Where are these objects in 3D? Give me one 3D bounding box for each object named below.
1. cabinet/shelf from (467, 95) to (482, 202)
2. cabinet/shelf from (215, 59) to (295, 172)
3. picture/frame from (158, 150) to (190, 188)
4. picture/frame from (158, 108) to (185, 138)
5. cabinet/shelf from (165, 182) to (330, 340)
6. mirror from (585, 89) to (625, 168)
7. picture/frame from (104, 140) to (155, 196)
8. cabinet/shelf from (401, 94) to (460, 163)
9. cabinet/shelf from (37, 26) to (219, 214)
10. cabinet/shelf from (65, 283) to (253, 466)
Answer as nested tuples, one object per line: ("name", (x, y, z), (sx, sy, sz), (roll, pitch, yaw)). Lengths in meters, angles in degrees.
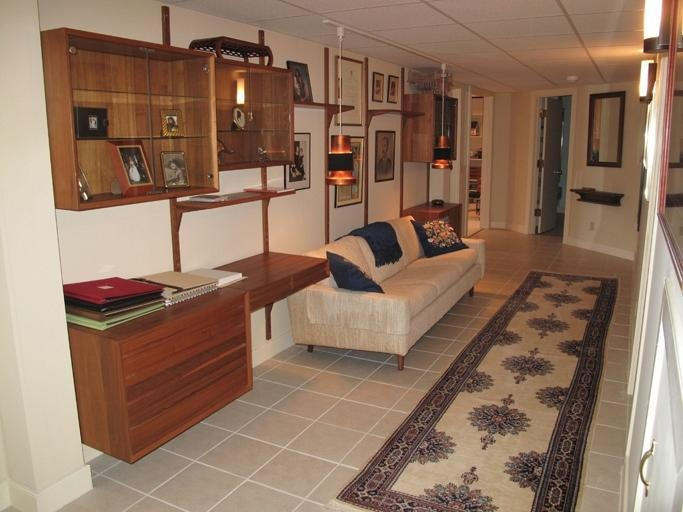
("cabinet/shelf", (3.178, -3.018, 12.178), (0.334, 1.449, 0.126), (1, 10, 14))
("cabinet/shelf", (-0.862, -1.097, 4.128), (0.353, 0.785, 1.056), (12, 18, 34))
("picture/frame", (-1.144, -0.587, 3.465), (0.029, 0.250, 0.269), (-4, 9, 25))
("picture/frame", (-1.147, -0.883, 3.425), (0.025, 0.199, 0.224), (4, 14, 31))
("cabinet/shelf", (-0.710, 0.142, 4.314), (0.751, 1.264, 1.177), (11, 18, 30))
("mirror", (4.420, -2.089, 8.569), (0.079, 1.229, 0.759), (-12, 18, -18))
("picture/frame", (-1.334, -0.545, 3.190), (0.059, 0.338, 0.300), (-10, 15, 35))
("cabinet/shelf", (1.182, -1.756, 7.084), (0.452, 0.958, 1.260), (4, 12, 26))
("cabinet/shelf", (-1.253, -0.816, 3.218), (0.284, 0.789, 0.948), (14, 16, 43))
("cabinet/shelf", (-1.230, 0.714, 3.450), (0.641, 0.698, 1.072), (5, 13, 27))
